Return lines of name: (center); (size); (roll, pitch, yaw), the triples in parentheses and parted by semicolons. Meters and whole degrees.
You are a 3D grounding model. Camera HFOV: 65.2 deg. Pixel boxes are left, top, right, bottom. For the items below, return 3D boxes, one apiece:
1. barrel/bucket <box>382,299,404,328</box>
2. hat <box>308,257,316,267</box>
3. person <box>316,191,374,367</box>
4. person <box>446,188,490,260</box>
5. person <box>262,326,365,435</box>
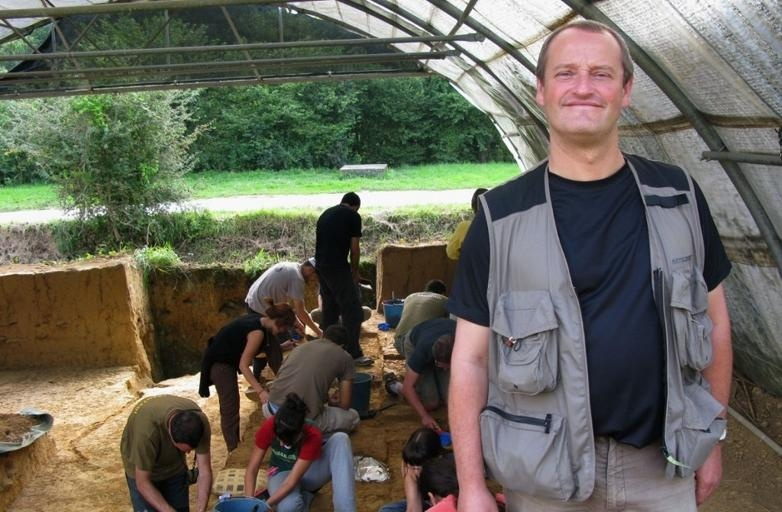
barrel/bucket: (0.003, 0.942, 10.008); (0.376, 0.366, 0.362); (-2, 10, 0)
hat: (-1.102, 0.084, 8.414); (0.105, 0.075, 0.149); (10, 24, -19)
person: (-0.641, 0.247, 8.276); (0.720, 2.233, 0.774); (-8, 16, -40)
person: (1.020, -0.259, 7.281); (0.307, 1.040, 0.389); (-11, -2, -5)
person: (-0.786, 1.297, 6.382); (0.968, 1.118, 0.853); (10, -7, 24)
